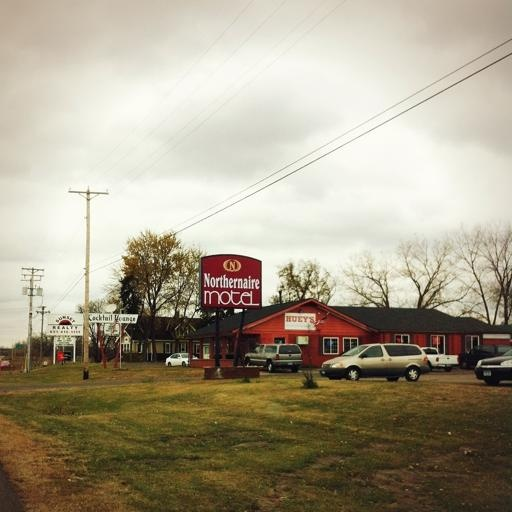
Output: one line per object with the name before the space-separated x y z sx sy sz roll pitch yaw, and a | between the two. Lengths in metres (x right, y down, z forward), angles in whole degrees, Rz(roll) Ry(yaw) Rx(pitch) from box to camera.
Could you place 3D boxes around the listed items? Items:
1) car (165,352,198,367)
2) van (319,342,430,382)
car | -7.488 10.037 57.613 2.295 1.188 3.372 0 -10 -14
van | 5.221 4.677 26.216 3.795 1.426 1.974 3 -10 -4
